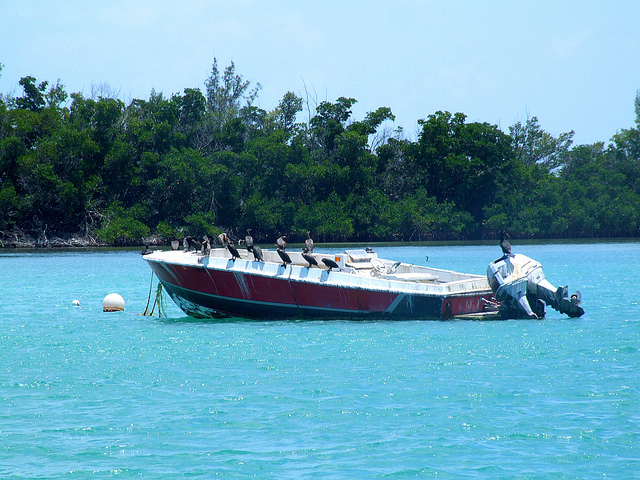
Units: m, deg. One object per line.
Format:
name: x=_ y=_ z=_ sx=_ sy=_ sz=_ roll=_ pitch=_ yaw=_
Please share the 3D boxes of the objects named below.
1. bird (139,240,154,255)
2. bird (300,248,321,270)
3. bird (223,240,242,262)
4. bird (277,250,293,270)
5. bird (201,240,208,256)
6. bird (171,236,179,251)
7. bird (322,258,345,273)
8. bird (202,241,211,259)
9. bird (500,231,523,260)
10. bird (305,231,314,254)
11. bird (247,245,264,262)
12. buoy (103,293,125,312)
bird: x=-10.588 y=0.415 z=51.726 sx=0.477 sy=0.573 sz=1.339 roll=2 pitch=24 yaw=-6
bird: x=-0.224 y=0.639 z=28.037 sx=0.592 sy=0.499 sz=1.093 roll=-1 pitch=12 yaw=-5
bird: x=-2.840 y=0.336 z=28.164 sx=0.461 sy=0.543 sz=0.950 roll=-4 pitch=12 yaw=-18
bird: x=-1.130 y=0.579 z=27.766 sx=0.415 sy=0.584 sz=0.789 roll=-1 pitch=11 yaw=-4
bird: x=-3.791 y=0.308 z=27.914 sx=0.143 sy=0.544 sz=0.348 roll=8 pitch=37 yaw=6
bird: x=-5.012 y=0.080 z=29.672 sx=0.187 sy=0.534 sz=0.303 roll=-1 pitch=-10 yaw=-3
bird: x=0.429 y=0.823 z=27.751 sx=0.554 sy=0.399 sz=0.416 roll=0 pitch=11 yaw=-1
bird: x=-3.705 y=0.308 z=27.856 sx=0.230 sy=0.554 sz=0.400 roll=-2 pitch=11 yaw=-8
bird: x=11.478 y=0.247 z=50.380 sx=0.469 sy=2.210 sz=0.317 roll=-24 pitch=23 yaw=9
bird: x=-0.313 y=0.094 z=28.813 sx=0.205 sy=0.731 sz=0.326 roll=-2 pitch=-10 yaw=-5
bird: x=-2.043 y=0.454 z=27.881 sx=0.257 sy=0.530 sz=0.750 roll=-6 pitch=-24 yaw=30
buoy: x=-7.537 y=2.338 z=31.258 sx=0.589 sy=0.587 sz=0.636 roll=1 pitch=9 yaw=23
